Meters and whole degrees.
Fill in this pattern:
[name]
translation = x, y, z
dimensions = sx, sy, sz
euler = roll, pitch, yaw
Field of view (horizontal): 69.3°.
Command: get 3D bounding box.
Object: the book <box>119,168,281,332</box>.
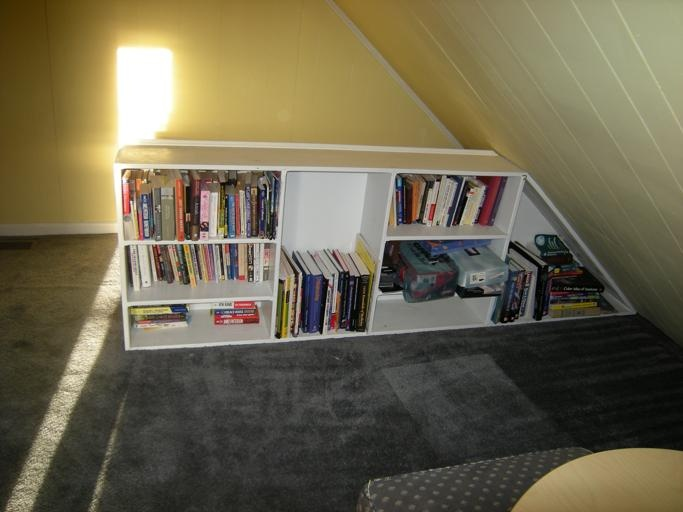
[book]
translation = -0.749, -0.065, 2.598
dimensions = 0.776, 0.783, 0.262
euler = -3, 20, -12
